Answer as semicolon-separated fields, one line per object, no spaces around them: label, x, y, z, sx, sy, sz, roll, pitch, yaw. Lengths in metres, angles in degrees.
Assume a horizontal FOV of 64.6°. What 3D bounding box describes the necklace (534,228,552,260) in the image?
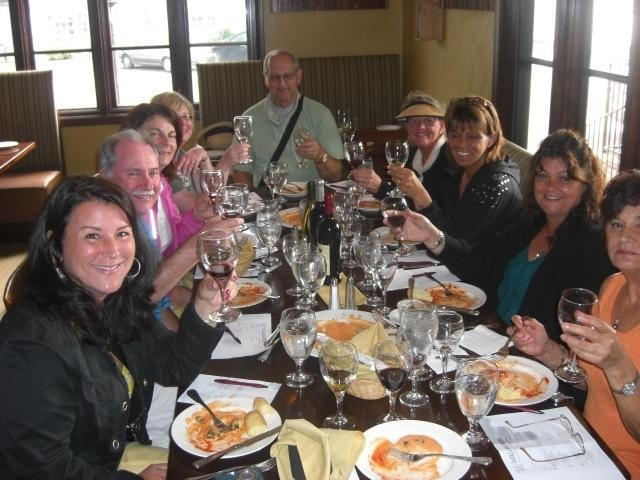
necklace;0.952;0.014;2.166;0.020;0.107;0.099;13;-11;11

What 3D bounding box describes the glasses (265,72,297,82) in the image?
glasses;-0.294;-1.240;3.868;0.195;0.059;0.065;-5;15;-10

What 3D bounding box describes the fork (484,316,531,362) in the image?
fork;0.602;0.325;1.622;0.031;0.037;0.245;-1;24;38

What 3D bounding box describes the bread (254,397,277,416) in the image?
bread;-0.147;0.451;1.383;0.033;0.023;0.053;-25;20;-33

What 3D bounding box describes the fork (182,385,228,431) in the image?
fork;-0.332;0.441;1.449;0.049;0.035;0.280;-12;27;-30

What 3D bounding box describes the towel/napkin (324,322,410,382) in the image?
towel/napkin;0.139;0.332;1.464;0.148;0.081;0.212;2;7;-4

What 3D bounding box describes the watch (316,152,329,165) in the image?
watch;0.026;-0.570;3.589;0.065;0.032;0.083;-25;36;37

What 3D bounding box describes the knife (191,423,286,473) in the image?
knife;-0.199;0.527;1.267;0.260;0.027;0.033;-17;40;-28

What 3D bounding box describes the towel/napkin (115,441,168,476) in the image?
towel/napkin;-0.594;0.683;1.693;0.150;0.061;0.154;1;13;-26

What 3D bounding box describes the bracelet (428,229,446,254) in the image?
bracelet;0.539;0.012;2.314;0.093;0.034;0.074;-56;5;-25

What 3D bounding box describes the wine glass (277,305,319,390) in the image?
wine glass;-0.064;0.307;1.542;0.103;0.209;0.196;-4;15;-5
